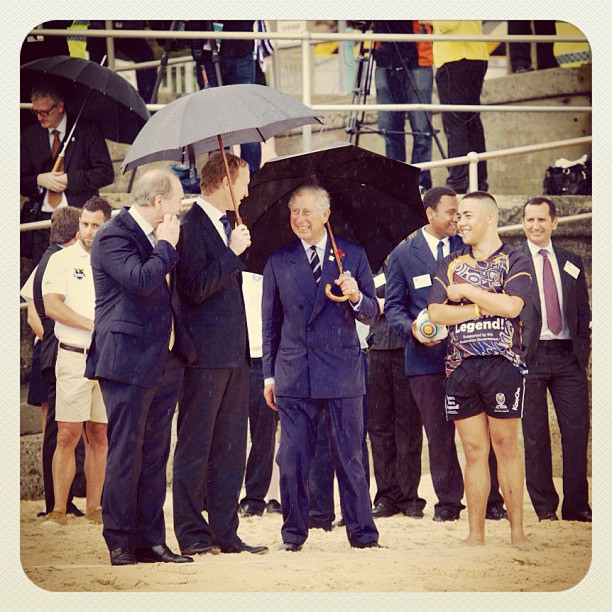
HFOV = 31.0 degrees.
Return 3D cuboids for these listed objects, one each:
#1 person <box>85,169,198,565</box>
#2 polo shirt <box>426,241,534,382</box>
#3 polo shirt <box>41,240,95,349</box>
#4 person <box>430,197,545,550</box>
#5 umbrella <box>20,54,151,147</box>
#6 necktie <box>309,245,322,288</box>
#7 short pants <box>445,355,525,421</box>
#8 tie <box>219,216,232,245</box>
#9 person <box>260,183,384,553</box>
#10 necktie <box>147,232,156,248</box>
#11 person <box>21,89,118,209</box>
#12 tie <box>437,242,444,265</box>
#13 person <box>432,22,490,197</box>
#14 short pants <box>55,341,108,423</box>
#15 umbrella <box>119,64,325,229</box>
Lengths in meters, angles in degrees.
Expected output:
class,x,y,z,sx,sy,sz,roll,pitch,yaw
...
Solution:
class,x,y,z,sx,sy,sz,roll,pitch,yaw
person,-0.976,0.348,6.464,0.634,2.275,0.508,-1,5,-15
polo shirt,1.067,0.036,6.887,0.618,0.844,0.381,1,5,7
polo shirt,-1.673,-0.079,7.721,0.352,0.748,0.265,-2,5,-19
person,1.109,0.414,6.846,0.634,2.159,0.321,1,5,14
umbrella,-1.852,-1.642,8.474,1.197,0.546,1.345,4,8,-1
necktie,0.053,-0.254,6.850,0.105,0.239,0.061,4,6,40
short pants,1.090,0.525,6.782,0.492,0.548,0.323,-5,-12,27
tie,-0.504,-0.473,6.866,0.033,0.160,0.102,-2,-1,40
person,0.087,0.354,6.860,0.729,2.212,0.632,0,5,-3
necktie,-0.922,-0.387,6.537,0.018,0.081,0.068,-11,-5,36
person,-1.774,-1.169,8.196,0.596,1.384,0.438,-3,-9,3
tie,0.941,-0.373,7.796,0.036,0.189,0.029,-5,-30,21
person,1.254,-1.608,9.009,0.459,1.425,0.993,1,5,7
short pants,-1.574,0.543,7.678,0.337,0.549,0.160,-1,5,-13
umbrella,-0.503,-0.928,6.802,0.942,0.897,1.139,4,7,35
